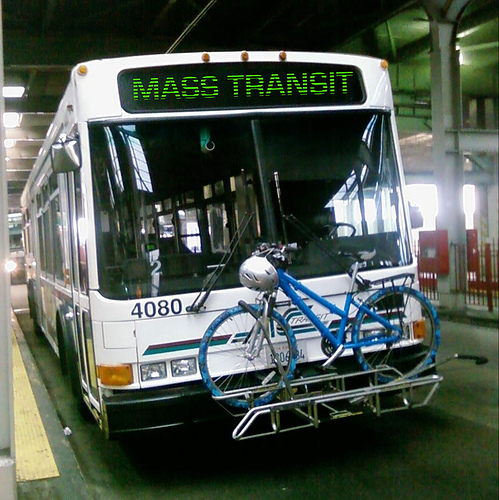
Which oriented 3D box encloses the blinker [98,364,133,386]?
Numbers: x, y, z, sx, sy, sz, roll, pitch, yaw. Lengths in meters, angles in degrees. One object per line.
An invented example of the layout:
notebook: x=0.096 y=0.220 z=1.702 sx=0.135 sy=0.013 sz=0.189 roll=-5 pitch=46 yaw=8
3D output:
blinker: x=-0.982 y=0.907 z=3.966 sx=0.280 sy=0.154 sz=0.068 roll=-2 pitch=0 yaw=26

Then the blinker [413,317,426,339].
blinker: x=1.451 y=0.673 z=4.645 sx=0.050 sy=0.200 sz=0.120 roll=3 pitch=7 yaw=13
